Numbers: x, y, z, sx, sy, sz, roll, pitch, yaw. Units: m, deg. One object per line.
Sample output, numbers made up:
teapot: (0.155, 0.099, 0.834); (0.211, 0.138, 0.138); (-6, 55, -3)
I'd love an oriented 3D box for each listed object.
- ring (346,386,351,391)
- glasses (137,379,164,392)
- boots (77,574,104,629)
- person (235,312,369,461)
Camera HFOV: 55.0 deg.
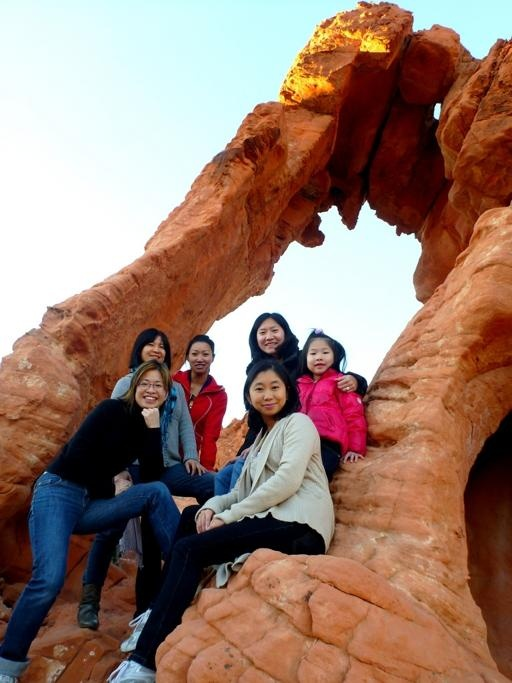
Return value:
ring: (0.686, 0.354, 3.674); (0.036, 0.033, 0.010); (-23, -25, 25)
glasses: (-0.708, 0.298, 3.301); (0.087, 0.024, 0.084); (11, -46, -20)
boots: (-1.130, 1.786, 3.347); (0.130, 0.240, 0.329); (13, -12, -23)
person: (0.342, 0.416, 3.394); (1.117, 0.983, 0.610); (-8, -48, -6)
